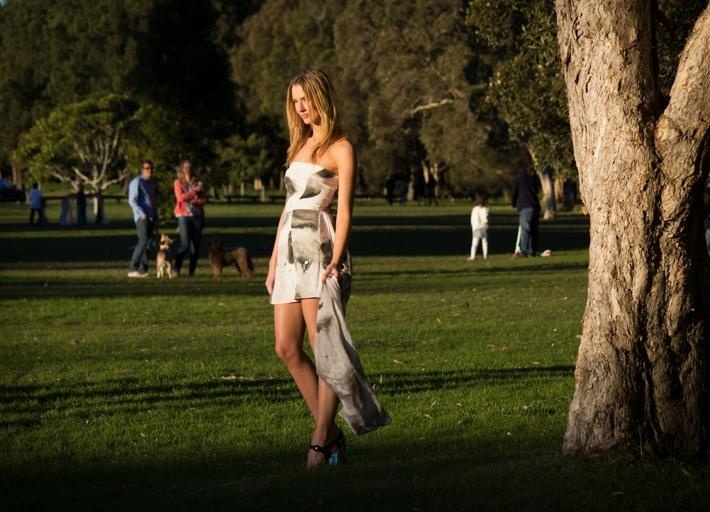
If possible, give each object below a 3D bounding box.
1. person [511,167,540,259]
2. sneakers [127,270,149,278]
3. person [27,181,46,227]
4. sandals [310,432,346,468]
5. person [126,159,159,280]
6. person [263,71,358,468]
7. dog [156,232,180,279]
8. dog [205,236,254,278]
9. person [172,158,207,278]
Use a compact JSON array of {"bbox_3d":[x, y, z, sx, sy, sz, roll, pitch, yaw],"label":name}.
[{"bbox_3d":[4.235,-1.068,30.209,0.653,2.216,1.254,0,2,8],"label":"person"},{"bbox_3d":[-4.537,0.384,25.468,0.289,0.148,0.179,-3,3,8],"label":"sneakers"},{"bbox_3d":[-9.938,-1.580,38.083,0.479,1.259,4.180,0,3,-14],"label":"person"},{"bbox_3d":[-0.247,2.095,13.141,0.178,0.237,0.527,-10,-17,44],"label":"sandals"},{"bbox_3d":[-4.335,-0.749,24.973,0.604,2.413,1.412,0,2,-11],"label":"person"},{"bbox_3d":[-0.446,-0.114,13.110,0.953,3.767,0.435,0,2,4],"label":"person"},{"bbox_3d":[-3.958,0.028,25.361,0.299,0.697,0.832,4,17,-11],"label":"dog"},{"bbox_3d":[-2.628,0.027,25.774,0.921,0.835,1.242,0,2,-8],"label":"dog"},{"bbox_3d":[-3.392,-0.769,25.095,0.576,2.382,1.494,0,2,-9],"label":"person"}]
